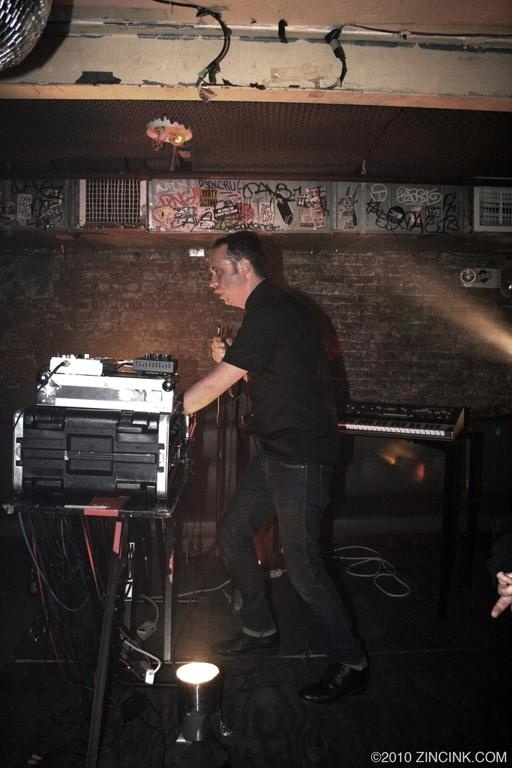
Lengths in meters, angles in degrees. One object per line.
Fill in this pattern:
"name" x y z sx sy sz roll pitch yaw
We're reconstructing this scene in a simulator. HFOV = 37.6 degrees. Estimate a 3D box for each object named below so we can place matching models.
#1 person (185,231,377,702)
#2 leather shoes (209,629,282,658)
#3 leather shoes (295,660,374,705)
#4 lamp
"person" 0.107 0.280 3.013 0.735 1.751 0.669 2 11 4
"leather shoes" -0.047 1.097 3.201 0.291 0.112 0.102 3 -4 -10
"leather shoes" 0.306 1.124 2.910 0.309 0.119 0.109 -6 12 -19
"lamp" -0.187 1.143 2.712 0.195 0.265 0.247 1 10 -3
